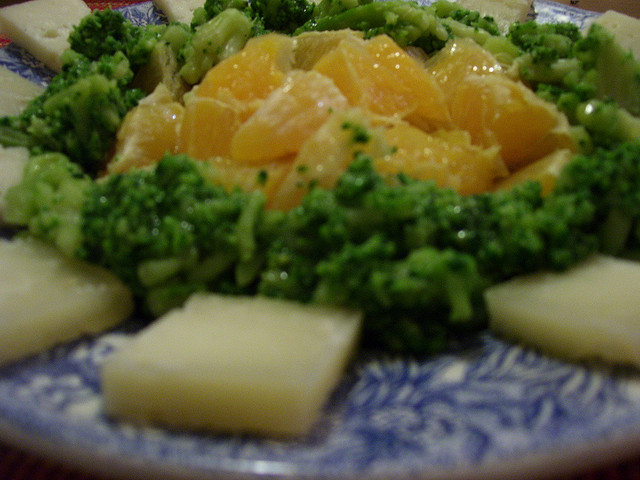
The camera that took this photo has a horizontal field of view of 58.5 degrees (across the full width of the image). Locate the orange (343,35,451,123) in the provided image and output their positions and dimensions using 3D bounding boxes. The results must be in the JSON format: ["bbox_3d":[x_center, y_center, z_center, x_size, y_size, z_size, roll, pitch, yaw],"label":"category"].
[{"bbox_3d":[0.179,-0.393,1.434,0.221,0.081,0.238,-13,73,-44],"label":"orange"}]

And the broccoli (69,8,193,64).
[{"bbox_3d":[-0.564,-0.597,1.694,0.294,0.171,0.197,-6,5,-44],"label":"broccoli"}]

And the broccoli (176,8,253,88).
[{"bbox_3d":[-0.332,-0.578,1.723,0.279,0.176,0.077,-43,24,-17],"label":"broccoli"}]

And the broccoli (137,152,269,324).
[{"bbox_3d":[-0.278,0.022,1.318,0.288,0.237,0.296,15,58,18],"label":"broccoli"}]

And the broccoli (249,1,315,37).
[{"bbox_3d":[-0.126,-0.692,1.852,0.150,0.082,0.125,-12,15,-38],"label":"broccoli"}]

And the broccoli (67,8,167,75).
[{"bbox_3d":[-0.598,-0.586,1.661,0.213,0.133,0.222,-3,68,-16],"label":"broccoli"}]

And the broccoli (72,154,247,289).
[{"bbox_3d":[-0.379,-0.052,1.399,0.307,0.100,0.343,-19,86,-4],"label":"broccoli"}]

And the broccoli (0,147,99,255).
[{"bbox_3d":[-0.662,-0.110,1.394,0.225,0.061,0.245,-21,77,-23],"label":"broccoli"}]

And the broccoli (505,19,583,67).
[{"bbox_3d":[0.628,-0.565,1.599,0.153,0.093,0.193,0,28,7],"label":"broccoli"}]

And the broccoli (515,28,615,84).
[{"bbox_3d":[0.640,-0.457,1.464,0.147,0.043,0.148,-36,23,-19],"label":"broccoli"}]

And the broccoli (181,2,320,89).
[{"bbox_3d":[-0.196,-0.554,1.759,0.312,0.113,0.361,-29,24,9],"label":"broccoli"}]

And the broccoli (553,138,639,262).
[{"bbox_3d":[0.629,-0.079,1.293,0.163,0.150,0.208,-28,84,-20],"label":"broccoli"}]

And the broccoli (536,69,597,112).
[{"bbox_3d":[0.626,-0.373,1.442,0.112,0.035,0.111,-43,12,-15],"label":"broccoli"}]

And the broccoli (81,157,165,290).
[{"bbox_3d":[-0.455,-0.040,1.331,0.243,0.079,0.283,-17,70,37],"label":"broccoli"}]

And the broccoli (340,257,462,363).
[{"bbox_3d":[0.178,0.149,1.259,0.208,0.258,0.100,-21,37,40],"label":"broccoli"}]

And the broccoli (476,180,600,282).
[{"bbox_3d":[0.475,-0.036,1.262,0.240,0.127,0.195,-15,13,-30],"label":"broccoli"}]

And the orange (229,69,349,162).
[{"bbox_3d":[-0.068,-0.270,1.372,0.218,0.087,0.222,-41,45,1],"label":"orange"}]
